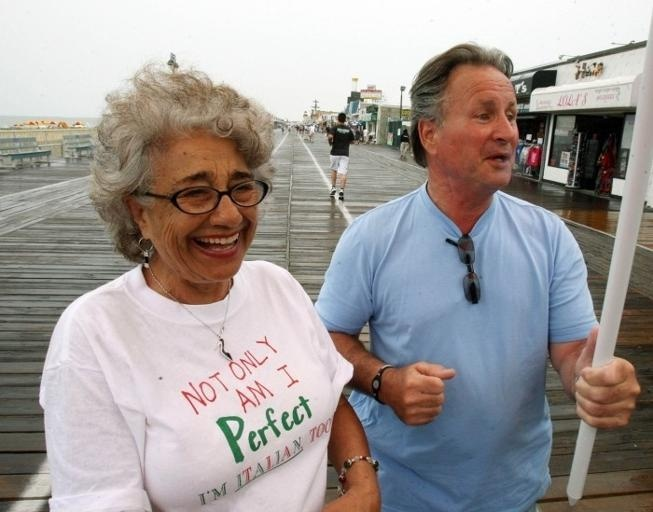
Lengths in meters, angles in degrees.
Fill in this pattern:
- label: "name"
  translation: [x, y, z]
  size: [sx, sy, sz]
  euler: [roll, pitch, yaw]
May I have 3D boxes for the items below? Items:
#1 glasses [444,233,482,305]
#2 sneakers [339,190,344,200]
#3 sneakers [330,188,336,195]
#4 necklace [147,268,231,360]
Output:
- label: "glasses"
  translation: [0.553, 0.049, 2.215]
  size: [0.102, 0.249, 0.158]
  euler: [-7, 16, -13]
- label: "sneakers"
  translation: [0.361, -1.418, 13.294]
  size: [0.096, 0.113, 0.276]
  euler: [-1, -6, 5]
- label: "sneakers"
  translation: [0.169, -1.589, 13.807]
  size: [0.207, 0.225, 0.542]
  euler: [1, 11, 2]
- label: "necklace"
  translation: [-0.471, 0.188, 1.981]
  size: [0.226, 0.367, 0.023]
  euler: [-26, 1, -33]
